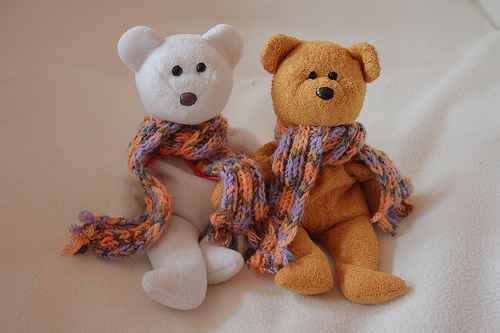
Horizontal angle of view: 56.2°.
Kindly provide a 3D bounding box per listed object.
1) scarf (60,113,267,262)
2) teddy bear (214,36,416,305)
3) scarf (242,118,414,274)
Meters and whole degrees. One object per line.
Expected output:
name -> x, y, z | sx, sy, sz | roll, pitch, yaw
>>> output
scarf -> -0.223, 0.046, 1.312 | 0.526, 0.365, 0.291 | 7, 27, -8
teddy bear -> 0.221, -0.007, 1.239 | 0.566, 0.577, 0.405 | 22, 29, 21
scarf -> 0.220, 0.023, 1.300 | 0.522, 0.505, 0.187 | -17, 38, -4
